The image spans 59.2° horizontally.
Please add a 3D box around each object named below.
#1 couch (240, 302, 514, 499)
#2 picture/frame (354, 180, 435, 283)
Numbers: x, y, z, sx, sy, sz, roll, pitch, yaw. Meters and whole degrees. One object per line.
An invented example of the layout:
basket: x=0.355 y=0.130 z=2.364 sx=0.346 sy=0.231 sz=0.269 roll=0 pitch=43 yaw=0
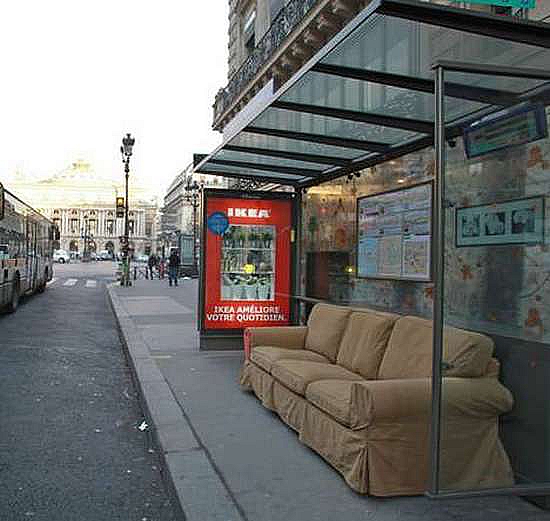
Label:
couch: x=0.625 y=1.051 z=4.560 sx=1.159 sy=1.229 sz=2.881 roll=5 pitch=-2 yaw=-20
picture/frame: x=1.400 y=-0.316 z=5.689 sx=0.094 sy=0.855 sz=1.513 roll=1 pitch=1 yaw=-20
